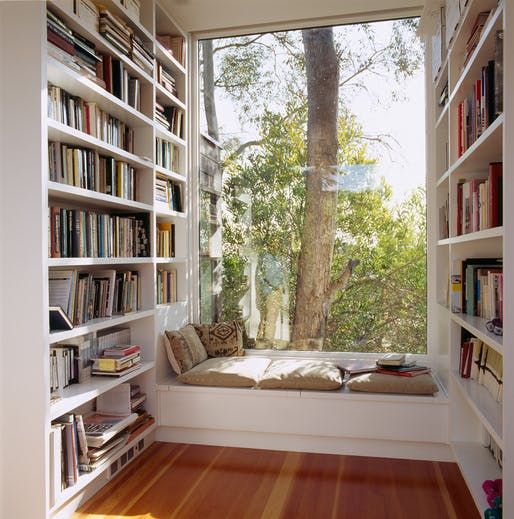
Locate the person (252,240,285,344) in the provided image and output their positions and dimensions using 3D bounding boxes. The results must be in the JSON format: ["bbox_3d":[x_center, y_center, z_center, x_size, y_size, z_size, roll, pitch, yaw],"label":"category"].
[{"bbox_3d":[0.115,0.229,3.803,0.236,1.103,0.286,-11,29,-23],"label":"person"}]
